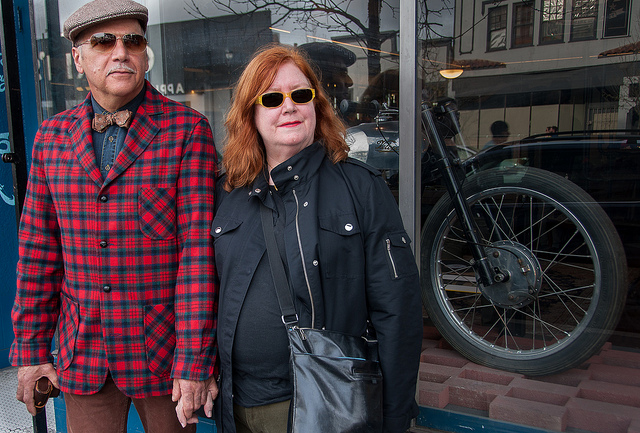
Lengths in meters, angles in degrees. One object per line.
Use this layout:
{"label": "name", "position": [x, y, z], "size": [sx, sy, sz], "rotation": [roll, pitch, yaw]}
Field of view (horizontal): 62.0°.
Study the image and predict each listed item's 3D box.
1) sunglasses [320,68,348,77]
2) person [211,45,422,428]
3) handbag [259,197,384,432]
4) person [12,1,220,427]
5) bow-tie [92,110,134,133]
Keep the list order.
{"label": "sunglasses", "position": [0.097, -0.909, 3.361], "size": [0.180, 0.039, 0.018], "rotation": [5, 11, 33]}
{"label": "person", "position": [-0.029, 0.124, 2.279], "size": [0.861, 1.694, 0.700], "rotation": [-2, 9, -12]}
{"label": "handbag", "position": [-0.011, 0.415, 2.170], "size": [0.528, 0.853, 0.349], "rotation": [1, 9, 10]}
{"label": "person", "position": [-0.946, 0.029, 2.422], "size": [0.986, 1.968, 0.477], "rotation": [0, 9, 2]}
{"label": "bow-tie", "position": [-0.957, -0.432, 2.438], "size": [0.192, 0.097, 0.054], "rotation": [1, 9, 11]}
